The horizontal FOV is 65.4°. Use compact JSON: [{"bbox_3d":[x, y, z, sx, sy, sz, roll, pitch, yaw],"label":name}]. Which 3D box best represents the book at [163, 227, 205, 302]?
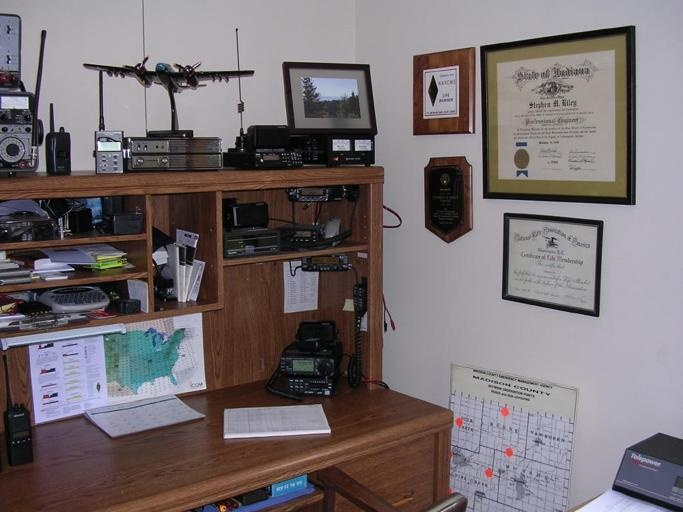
[{"bbox_3d":[-0.734,0.051,2.473,0.140,0.289,0.313,2,9,-36],"label":"book"}]

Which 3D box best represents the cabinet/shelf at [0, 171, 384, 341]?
[{"bbox_3d":[-0.624,0.033,2.560,1.727,0.904,0.429,-5,10,-27],"label":"cabinet/shelf"}]

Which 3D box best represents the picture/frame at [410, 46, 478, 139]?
[{"bbox_3d":[0.563,-0.884,2.855,0.065,0.589,0.565,-4,5,-43],"label":"picture/frame"}]

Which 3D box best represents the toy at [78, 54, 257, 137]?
[{"bbox_3d":[-0.768,-0.746,2.428,0.637,0.295,0.461,2,17,-4],"label":"toy"}]

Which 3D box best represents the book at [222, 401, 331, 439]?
[{"bbox_3d":[-0.299,0.723,2.397,0.496,0.455,0.041,-8,54,4],"label":"book"}]

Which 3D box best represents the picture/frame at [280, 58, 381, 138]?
[{"bbox_3d":[-0.051,-0.792,2.701,0.663,0.456,0.050,-1,-4,-21],"label":"picture/frame"}]
